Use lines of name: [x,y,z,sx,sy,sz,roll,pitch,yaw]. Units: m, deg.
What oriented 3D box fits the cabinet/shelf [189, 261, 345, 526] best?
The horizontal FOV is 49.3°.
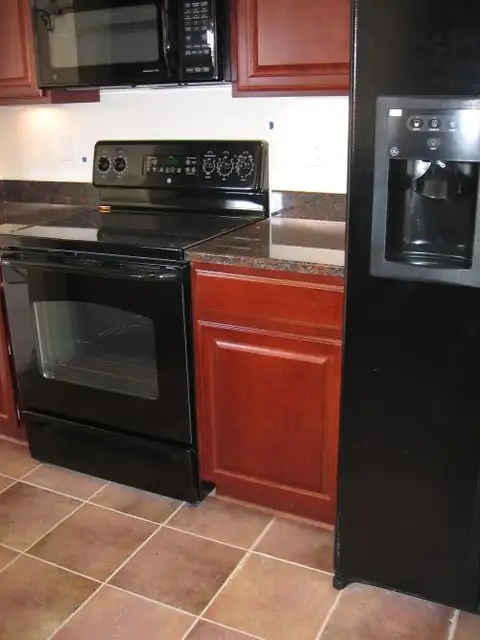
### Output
cabinet/shelf: [0.141,0.166,1.764,0.499,0.754,0.514,8,21,25]
